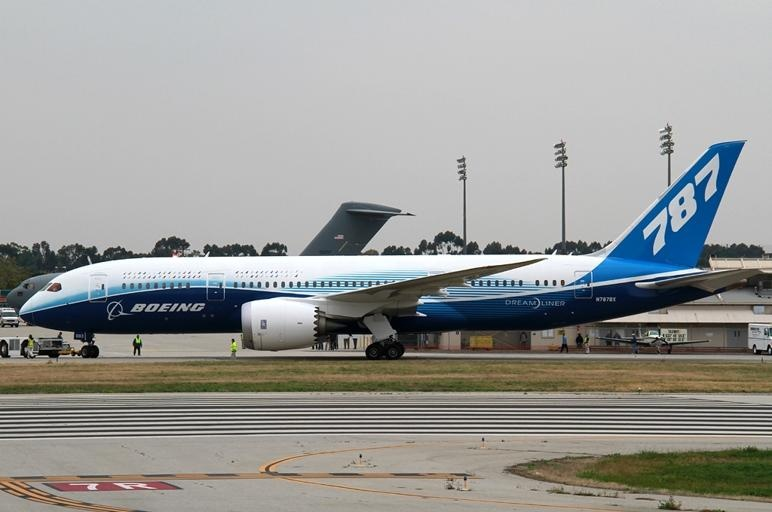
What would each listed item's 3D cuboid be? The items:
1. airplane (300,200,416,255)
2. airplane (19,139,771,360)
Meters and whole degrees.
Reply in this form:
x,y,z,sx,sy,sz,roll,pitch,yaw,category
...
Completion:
x,y,z,sx,sy,sz,roll,pitch,yaw,category
-1.907,-1.067,69.627,4.869,1.001,3.565,3,-19,-11,airplane
1.485,-0.542,69.059,33.097,10.224,21.468,1,3,9,airplane
